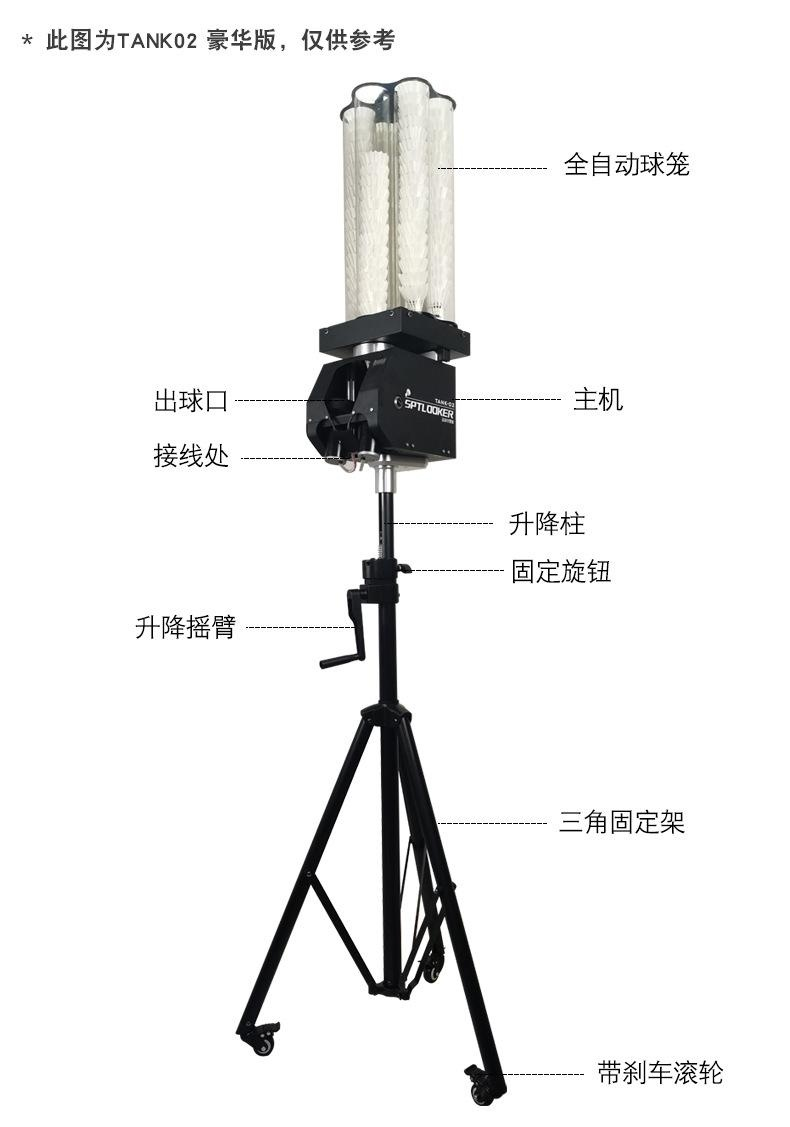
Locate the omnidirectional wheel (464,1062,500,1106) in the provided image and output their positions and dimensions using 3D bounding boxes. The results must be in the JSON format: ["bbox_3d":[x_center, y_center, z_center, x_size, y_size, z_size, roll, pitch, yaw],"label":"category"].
[{"bbox_3d":[0.243,1.452,4.154,0.101,0.148,0.191,0,6,3],"label":"omnidirectional wheel"}]

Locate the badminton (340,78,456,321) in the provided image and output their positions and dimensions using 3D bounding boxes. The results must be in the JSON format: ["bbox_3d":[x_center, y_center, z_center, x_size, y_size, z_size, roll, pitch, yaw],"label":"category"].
[{"bbox_3d":[0.006,-1.053,4.314,0.321,0.676,0.212,-1,5,-3],"label":"badminton"}]

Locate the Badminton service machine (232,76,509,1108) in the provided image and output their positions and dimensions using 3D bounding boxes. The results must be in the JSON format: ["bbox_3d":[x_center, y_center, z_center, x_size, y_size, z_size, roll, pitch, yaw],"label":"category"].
[{"bbox_3d":[-0.052,0.068,4.258,0.647,2.890,0.628,-1,5,-7],"label":"Badminton service machine"}]
